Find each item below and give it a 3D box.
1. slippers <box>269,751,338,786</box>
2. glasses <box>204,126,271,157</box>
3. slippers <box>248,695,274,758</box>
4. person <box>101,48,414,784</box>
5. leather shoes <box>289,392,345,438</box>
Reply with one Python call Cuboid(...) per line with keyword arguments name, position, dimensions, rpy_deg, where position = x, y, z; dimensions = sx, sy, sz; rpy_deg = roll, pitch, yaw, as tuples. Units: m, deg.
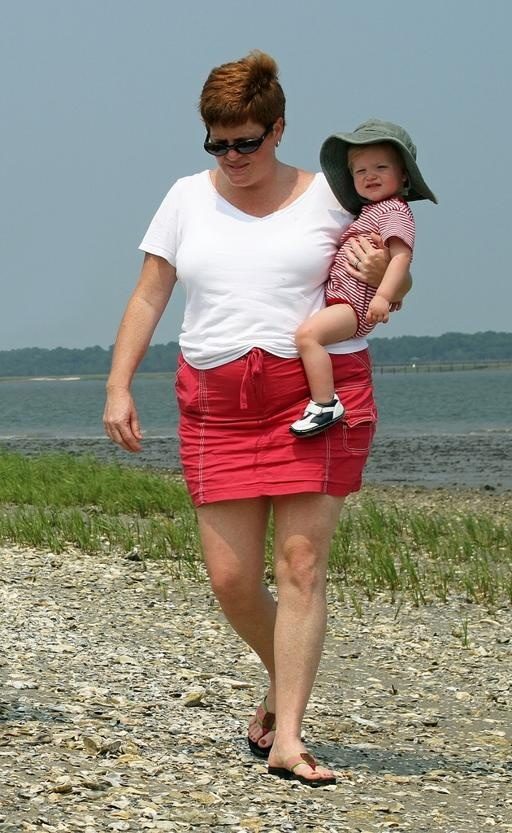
Cuboid(name="slippers", position=(0.156, 1.102, 3.254), dimensions=(0.110, 0.070, 0.192), rpy_deg=(1, -5, -42))
Cuboid(name="glasses", position=(-0.090, -0.883, 3.301), dimensions=(0.258, 0.094, 0.114), rpy_deg=(5, 1, 30))
Cuboid(name="slippers", position=(0.032, 1.115, 3.623), dimensions=(0.084, 0.082, 0.223), rpy_deg=(8, 9, 2))
Cuboid(name="person", position=(-0.063, 0.008, 3.410), dimensions=(0.908, 2.136, 0.423), rpy_deg=(6, 1, 5))
Cuboid(name="leather shoes", position=(0.196, -0.006, 3.282), dimensions=(0.207, 0.080, 0.082), rpy_deg=(-32, 31, -34))
